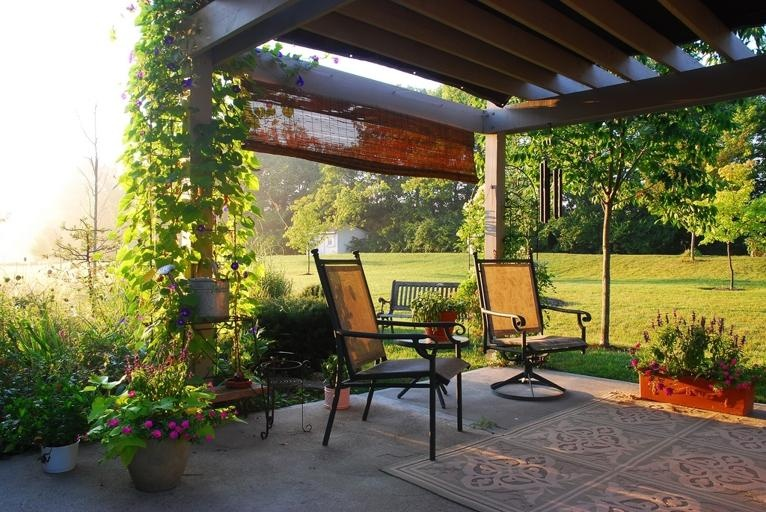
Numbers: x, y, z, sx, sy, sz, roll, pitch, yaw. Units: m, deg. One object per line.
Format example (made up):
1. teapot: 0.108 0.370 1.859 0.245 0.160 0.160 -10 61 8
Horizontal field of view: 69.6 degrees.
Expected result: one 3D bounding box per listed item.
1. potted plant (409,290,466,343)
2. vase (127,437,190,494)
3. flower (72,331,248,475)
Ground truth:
1. potted plant: 0.617 0.657 6.034 0.491 0.490 0.466 1 -8 -3
2. vase: -1.586 1.430 3.917 0.402 0.307 0.406 2 -10 -13
3. flower: -1.582 1.067 3.868 0.861 0.769 0.442 -3 7 -30
